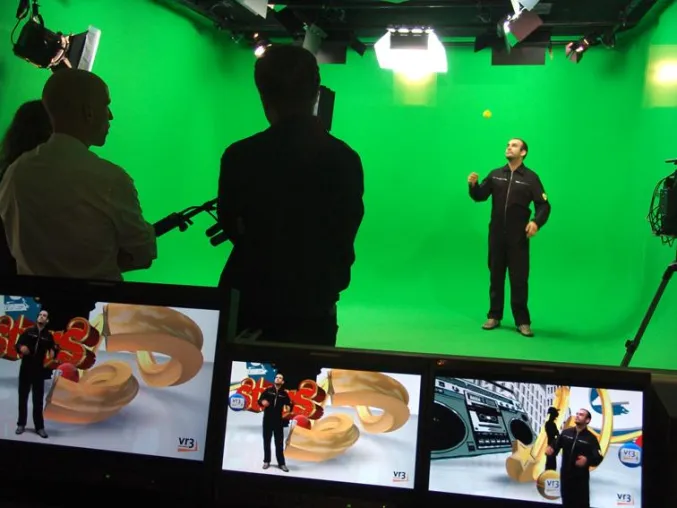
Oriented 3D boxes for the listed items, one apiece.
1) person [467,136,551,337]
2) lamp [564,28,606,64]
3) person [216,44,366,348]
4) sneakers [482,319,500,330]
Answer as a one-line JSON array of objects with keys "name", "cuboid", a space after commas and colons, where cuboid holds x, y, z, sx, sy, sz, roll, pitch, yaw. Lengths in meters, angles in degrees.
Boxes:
[{"name": "person", "cuboid": [1.302, -0.155, 4.950, 0.609, 1.543, 0.484, 6, 0, 21]}, {"name": "lamp", "cuboid": [2.046, -1.693, 5.260, 0.326, 0.242, 0.220, 5, 1, -36]}, {"name": "person", "cuboid": [-0.156, -0.193, 2.095, 0.436, 0.960, 0.302, 6, 0, -30]}, {"name": "sneakers", "cuboid": [1.217, 0.553, 5.038, 0.065, 0.077, 0.185, 0, -2, 37]}]
